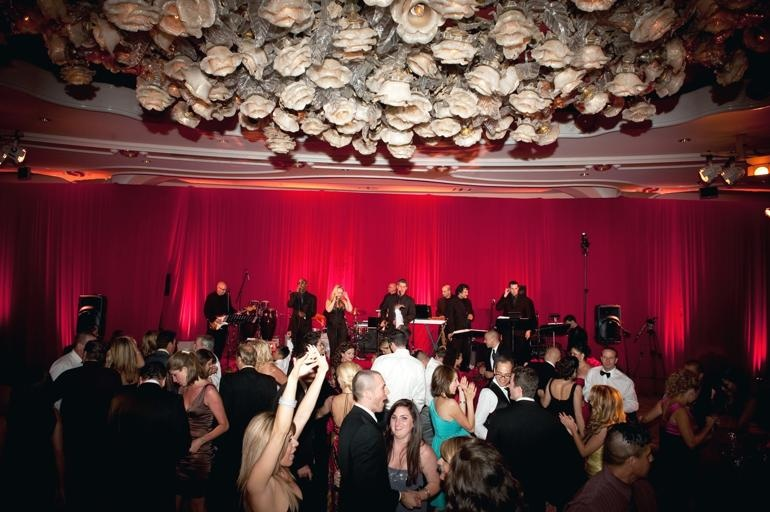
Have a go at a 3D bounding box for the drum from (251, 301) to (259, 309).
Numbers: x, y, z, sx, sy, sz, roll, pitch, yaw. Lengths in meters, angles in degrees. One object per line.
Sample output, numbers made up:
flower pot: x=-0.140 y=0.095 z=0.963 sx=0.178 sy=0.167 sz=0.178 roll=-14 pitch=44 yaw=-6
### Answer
drum: x=-3.416 y=1.277 z=14.259 sx=0.141 sy=0.174 sz=0.163 roll=-5 pitch=4 yaw=16

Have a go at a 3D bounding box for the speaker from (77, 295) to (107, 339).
speaker: x=-7.375 y=1.533 z=13.511 sx=0.632 sy=1.021 sz=0.537 roll=3 pitch=-24 yaw=-26

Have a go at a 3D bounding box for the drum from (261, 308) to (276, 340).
drum: x=-2.999 y=1.704 z=13.767 sx=0.462 sy=0.732 sz=0.486 roll=7 pitch=-6 yaw=1

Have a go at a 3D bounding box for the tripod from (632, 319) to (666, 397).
tripod: x=7.015 y=2.591 z=14.219 sx=0.805 sy=2.038 sz=0.796 roll=-3 pitch=-3 yaw=-5
